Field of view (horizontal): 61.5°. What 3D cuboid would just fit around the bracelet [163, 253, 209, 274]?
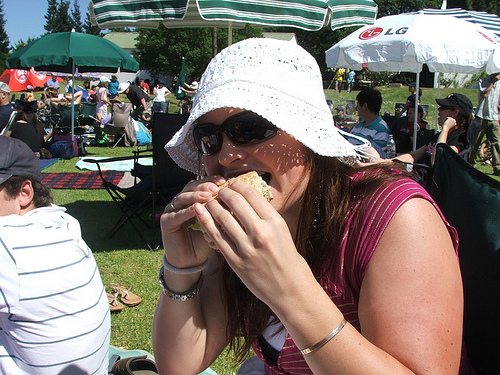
[{"bbox_3d":[-0.316,0.370,2.052,0.214,0.088,0.068,-2,15,-5],"label":"bracelet"}]

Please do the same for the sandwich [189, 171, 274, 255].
[{"bbox_3d":[-0.046,0.060,1.895,0.396,0.344,0.444,1,9,6],"label":"sandwich"}]

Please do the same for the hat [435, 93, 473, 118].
[{"bbox_3d":[3.419,-1.378,7.003,0.500,0.277,0.369,23,13,9],"label":"hat"}]

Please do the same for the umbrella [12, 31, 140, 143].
[{"bbox_3d":[-4.894,-2.951,11.873,3.037,2.837,2.873,-11,19,-35],"label":"umbrella"}]
